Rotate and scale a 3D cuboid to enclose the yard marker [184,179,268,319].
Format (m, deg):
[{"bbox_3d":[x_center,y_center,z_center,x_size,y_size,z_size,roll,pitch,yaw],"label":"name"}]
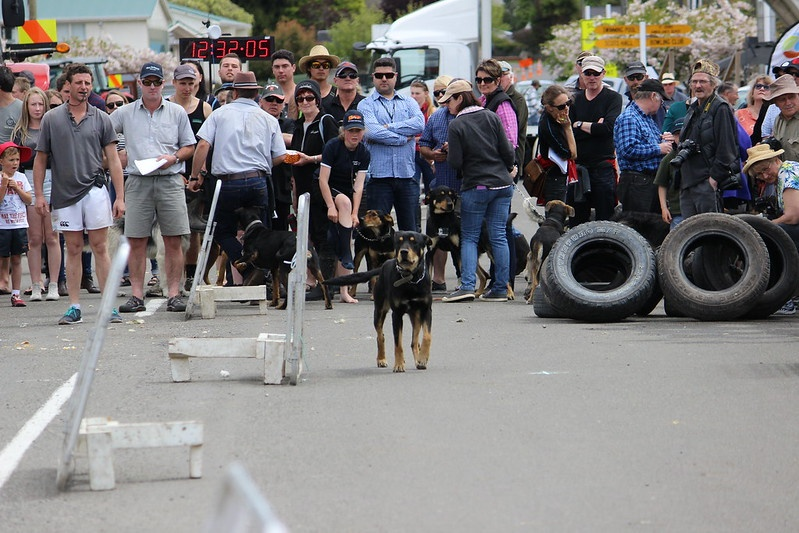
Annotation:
[{"bbox_3d":[-2.090,-0.159,13.037,0.545,1.451,0.862,4,-3,-41],"label":"yard marker"}]

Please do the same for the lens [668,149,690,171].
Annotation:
[{"bbox_3d":[3.412,-1.249,13.358,0.194,0.118,0.290,2,44,39],"label":"lens"}]

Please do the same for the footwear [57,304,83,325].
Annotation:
[{"bbox_3d":[-3.718,0.559,12.498,0.132,0.164,0.350,0,-1,16],"label":"footwear"}]
